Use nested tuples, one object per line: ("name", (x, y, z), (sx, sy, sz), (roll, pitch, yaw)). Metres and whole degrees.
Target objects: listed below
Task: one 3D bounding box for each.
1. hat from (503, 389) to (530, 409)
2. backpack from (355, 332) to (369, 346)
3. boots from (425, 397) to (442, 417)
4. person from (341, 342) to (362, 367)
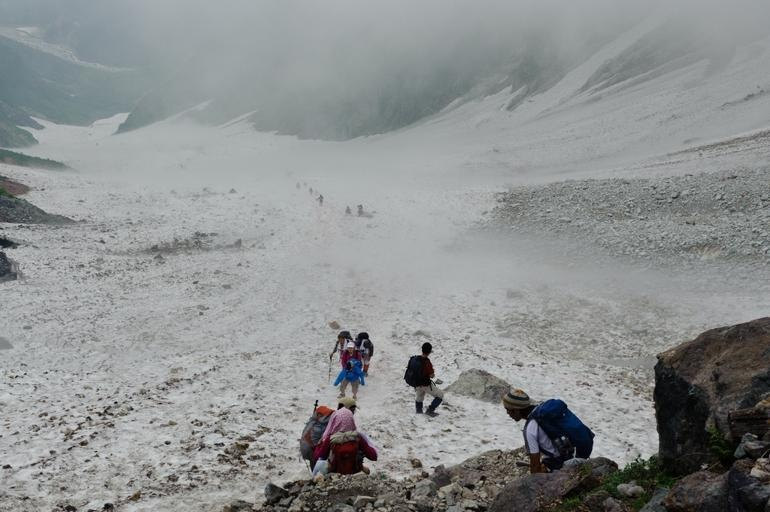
("hat", (4.553, 4.996, 21.404), (0.954, 0.421, 0.645), (4, 3, 9))
("backpack", (-1.007, 3.608, 26.474), (0.649, 0.541, 0.482), (12, -6, -11))
("boots", (1.966, 6.318, 25.351), (0.450, 0.778, 0.764), (43, 11, 34))
("person", (-1.483, 4.179, 26.159), (0.818, 1.058, 1.113), (1, 5, 3))
